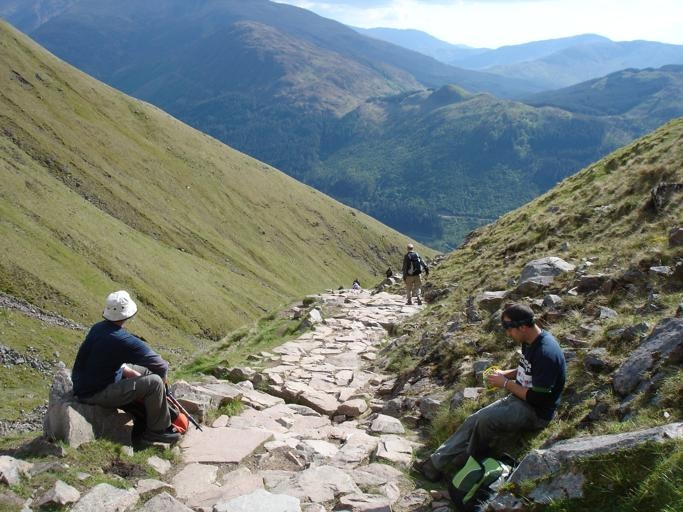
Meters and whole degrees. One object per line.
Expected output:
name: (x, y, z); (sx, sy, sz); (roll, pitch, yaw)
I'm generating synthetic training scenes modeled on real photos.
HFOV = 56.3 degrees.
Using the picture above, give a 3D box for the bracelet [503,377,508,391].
bracelet: (3.933, 3.059, 15.339); (0.093, 0.181, 0.158); (6, -4, 1)

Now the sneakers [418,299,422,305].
sneakers: (3.985, 2.355, 32.737); (0.255, 0.319, 0.186); (-2, 11, -12)

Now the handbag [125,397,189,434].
handbag: (-4.781, 4.151, 16.781); (1.940, 0.785, 0.660); (4, 16, -7)
